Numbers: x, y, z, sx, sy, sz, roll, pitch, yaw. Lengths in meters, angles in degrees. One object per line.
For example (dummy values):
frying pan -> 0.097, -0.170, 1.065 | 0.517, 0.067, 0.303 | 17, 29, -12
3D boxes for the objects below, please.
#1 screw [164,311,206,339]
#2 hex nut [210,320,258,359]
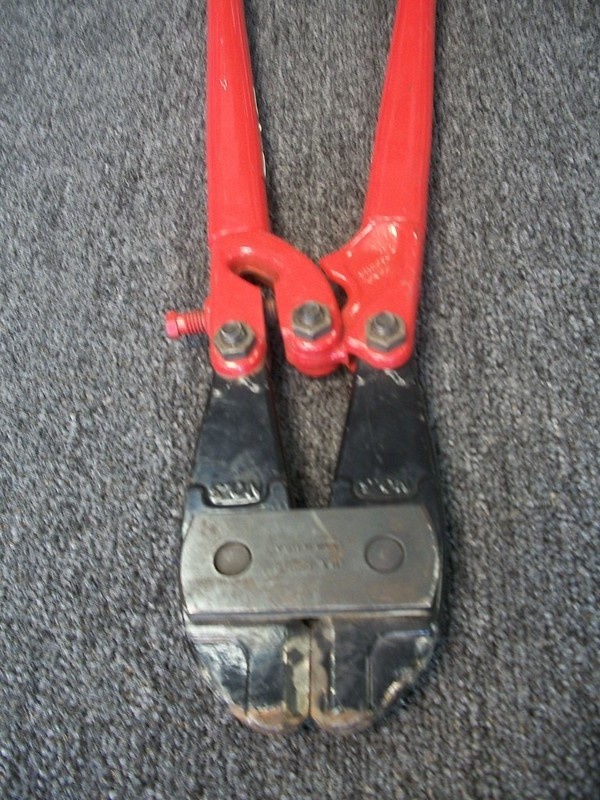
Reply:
screw -> -0.087, -0.054, 0.554 | 0.029, 0.017, 0.017 | -9, 62, -3
hex nut -> -0.045, -0.040, 0.496 | 0.023, 0.018, 0.027 | -3, 74, -4
